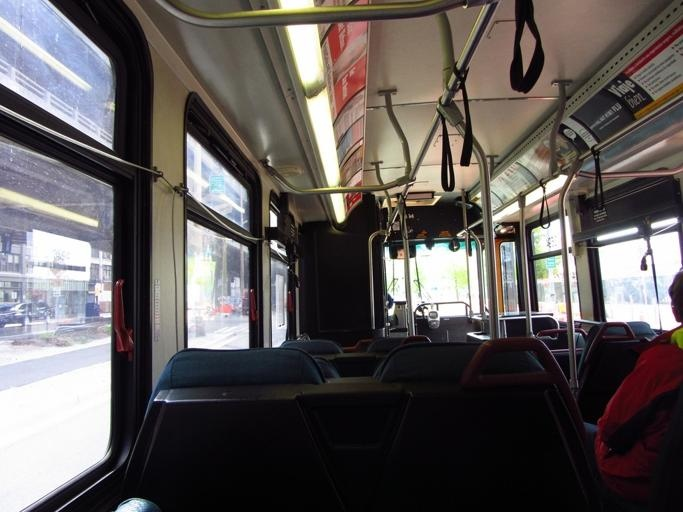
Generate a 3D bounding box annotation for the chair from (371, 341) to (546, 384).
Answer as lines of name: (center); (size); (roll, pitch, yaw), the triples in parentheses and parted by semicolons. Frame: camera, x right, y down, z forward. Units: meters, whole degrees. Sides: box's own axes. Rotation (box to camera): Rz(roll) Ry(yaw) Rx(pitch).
chair: (0.515, 0.481, 2.109); (0.732, 0.199, 0.113); (3, 5, 6)
